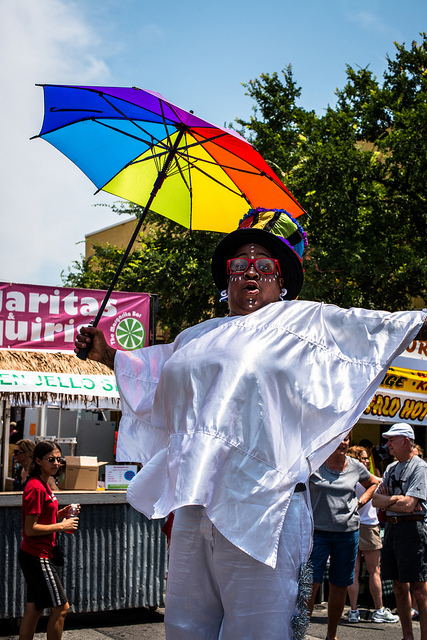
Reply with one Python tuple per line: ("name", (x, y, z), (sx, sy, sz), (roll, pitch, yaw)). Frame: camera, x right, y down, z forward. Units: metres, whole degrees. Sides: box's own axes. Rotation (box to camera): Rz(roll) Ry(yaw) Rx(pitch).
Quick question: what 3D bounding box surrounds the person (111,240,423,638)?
("person", (0.092, 0.386, 2.966), (0.897, 1.499, 0.924), (7, -7, -33))
